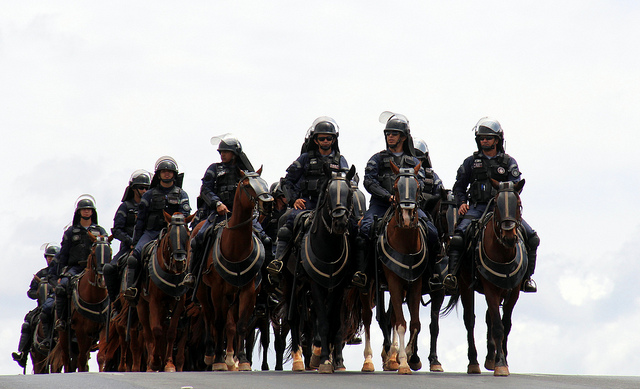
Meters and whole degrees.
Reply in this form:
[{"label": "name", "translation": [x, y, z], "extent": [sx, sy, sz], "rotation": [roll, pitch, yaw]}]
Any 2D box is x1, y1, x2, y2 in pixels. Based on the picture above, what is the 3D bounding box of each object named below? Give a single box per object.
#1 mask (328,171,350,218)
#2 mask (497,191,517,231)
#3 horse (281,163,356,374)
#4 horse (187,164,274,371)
[{"label": "mask", "translation": [0.571, 0.030, 42.964], "extent": [0.699, 1.148, 0.610], "rotation": [1, -13, 1]}, {"label": "mask", "translation": [5.629, 0.517, 43.784], "extent": [0.632, 1.039, 0.654], "rotation": [-2, -8, 5]}, {"label": "horse", "translation": [0.048, 2.832, 45.999], "extent": [2.353, 5.450, 8.490], "rotation": [1, -13, -8]}, {"label": "horse", "translation": [-3.064, 2.098, 46.803], "extent": [2.032, 7.130, 4.350], "rotation": [5, -22, -10]}]
